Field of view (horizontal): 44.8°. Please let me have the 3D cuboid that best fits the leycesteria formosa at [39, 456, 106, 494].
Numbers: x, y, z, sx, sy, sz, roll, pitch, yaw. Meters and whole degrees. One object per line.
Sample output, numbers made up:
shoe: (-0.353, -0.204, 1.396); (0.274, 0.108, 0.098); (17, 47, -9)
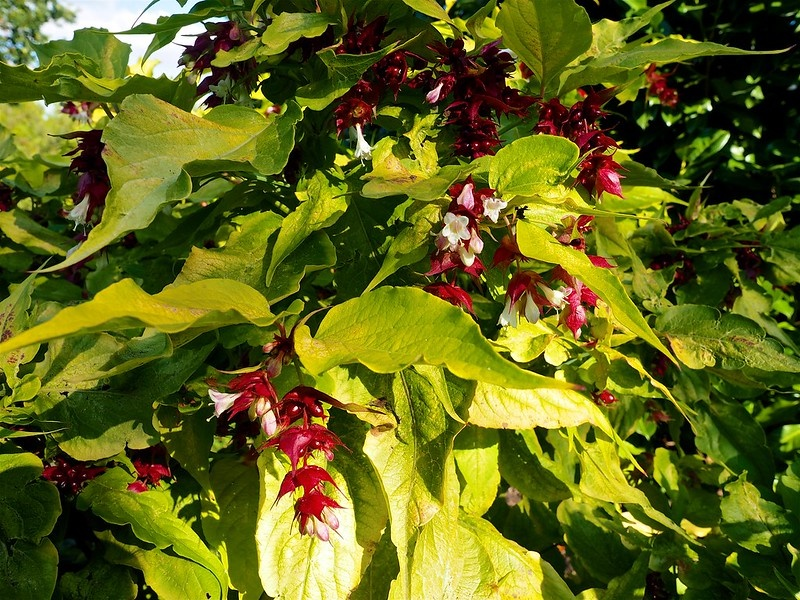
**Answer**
leycesteria formosa: (-1.027, 0.545, 3.023); (0.165, 0.108, 0.058); (-4, -1, -25)
